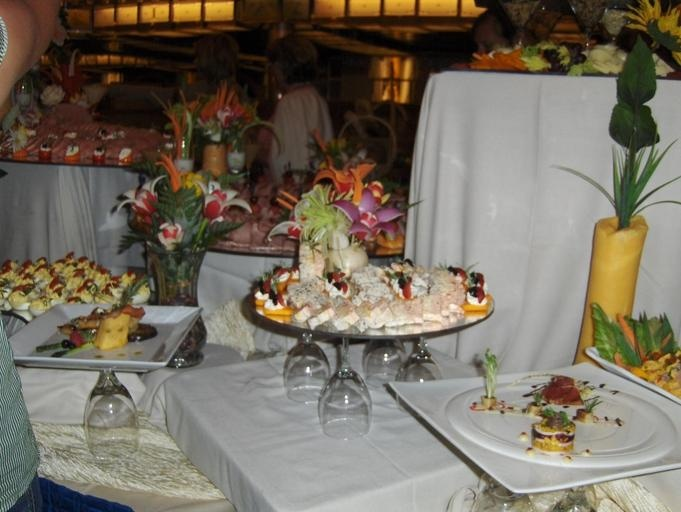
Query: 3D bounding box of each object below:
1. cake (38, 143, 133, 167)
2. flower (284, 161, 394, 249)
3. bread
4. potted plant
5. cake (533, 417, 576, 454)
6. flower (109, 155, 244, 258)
[{"bbox_3d":[-2.211,-0.868,5.001,0.966,0.176,0.577,6,14,27],"label":"cake"},{"bbox_3d":[0.129,-0.177,2.193,0.405,0.197,0.387,11,-12,-27],"label":"flower"},{"bbox_3d":[0.130,0.150,1.864,0.371,0.068,0.260,-8,19,-23],"label":"bread"},{"bbox_3d":[1.061,-0.026,2.362,0.387,0.855,0.690,12,17,43],"label":"potted plant"},{"bbox_3d":[0.490,0.399,1.340,0.122,0.056,0.093,0,12,1],"label":"cake"},{"bbox_3d":[-0.621,-0.218,2.379,0.492,0.388,0.404,-1,12,-5],"label":"flower"}]
